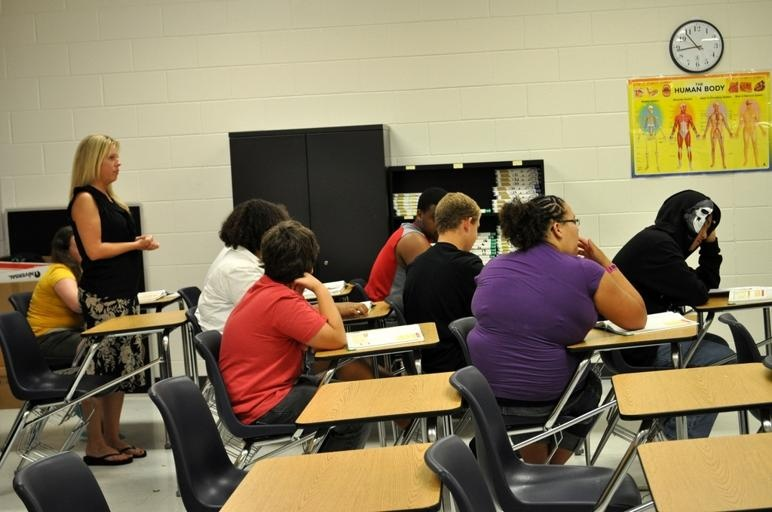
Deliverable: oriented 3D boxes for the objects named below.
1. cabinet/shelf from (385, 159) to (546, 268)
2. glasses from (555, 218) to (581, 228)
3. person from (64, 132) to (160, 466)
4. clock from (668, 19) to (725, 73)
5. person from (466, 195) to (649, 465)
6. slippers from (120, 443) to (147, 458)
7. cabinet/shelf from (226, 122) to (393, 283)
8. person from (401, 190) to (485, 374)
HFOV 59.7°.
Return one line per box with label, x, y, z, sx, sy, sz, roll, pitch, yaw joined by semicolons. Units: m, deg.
cabinet/shelf;0.615;-0.324;5.114;0.926;0.899;0.258;-1;-1;6
glasses;1.029;-0.188;3.831;0.151;0.043;0.156;1;2;16
person;-2.007;0.306;5.118;0.657;2.405;0.681;-1;1;5
clock;2.855;-1.915;6.146;0.448;0.473;0.059;-2;0;9
person;0.976;0.590;3.962;0.946;1.802;0.963;3;8;42
slippers;-1.881;1.452;5.033;0.156;0.058;0.089;1;7;0
cabinet/shelf;-0.561;-0.428;5.505;1.341;1.473;0.511;-1;1;5
person;0.455;0.195;4.575;0.537;1.316;0.742;11;30;24
